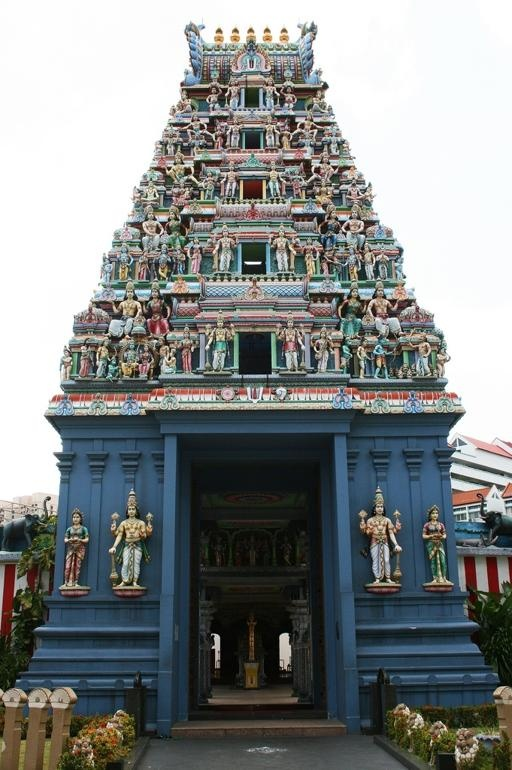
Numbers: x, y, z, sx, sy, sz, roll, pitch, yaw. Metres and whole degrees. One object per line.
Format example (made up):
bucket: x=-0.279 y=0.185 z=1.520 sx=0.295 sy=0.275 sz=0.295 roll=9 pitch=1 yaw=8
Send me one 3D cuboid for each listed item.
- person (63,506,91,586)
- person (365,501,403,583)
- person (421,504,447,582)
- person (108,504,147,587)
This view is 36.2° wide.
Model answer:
person: x=-3.192 y=2.893 z=13.855 sx=0.435 sy=1.368 sz=0.452 roll=6 pitch=-25 yaw=-13
person: x=2.226 y=2.716 z=13.907 sx=0.751 sy=1.630 sz=0.483 roll=1 pitch=-25 yaw=-3
person: x=3.159 y=2.870 z=13.964 sx=0.362 sy=1.324 sz=0.338 roll=-4 pitch=-25 yaw=8
person: x=-2.206 y=2.792 z=13.803 sx=0.720 sy=1.605 sz=0.445 roll=2 pitch=-25 yaw=-6
